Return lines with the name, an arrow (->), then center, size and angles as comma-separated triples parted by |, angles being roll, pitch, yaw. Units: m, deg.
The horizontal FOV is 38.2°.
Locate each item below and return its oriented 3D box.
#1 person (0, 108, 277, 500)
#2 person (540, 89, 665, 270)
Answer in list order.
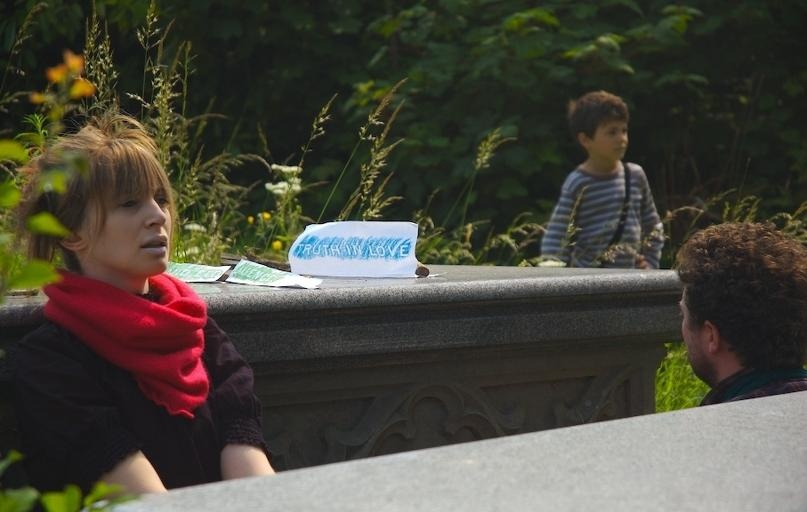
person -> -0.983, 0.217, 4.715 | 1.157, 1.570, 1.058 | -2, -2, 27
person -> 0.987, -0.383, 5.698 | 0.624, 1.222, 0.374 | -8, 10, -21
